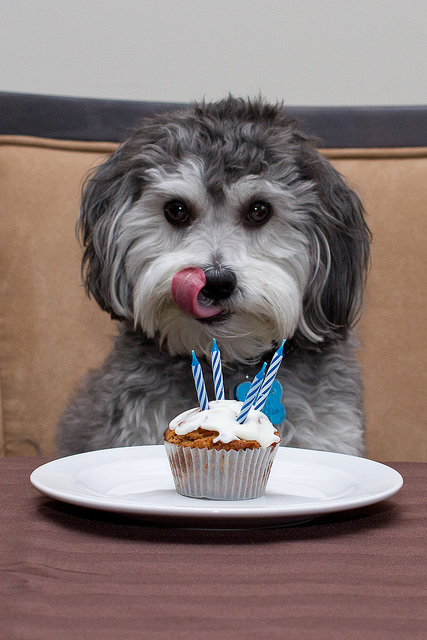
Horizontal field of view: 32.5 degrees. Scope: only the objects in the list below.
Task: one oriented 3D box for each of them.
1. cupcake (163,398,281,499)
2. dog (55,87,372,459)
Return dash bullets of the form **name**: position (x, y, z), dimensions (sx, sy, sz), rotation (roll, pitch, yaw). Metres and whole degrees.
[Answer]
- **cupcake**: position (0.008, 0.188, 1.092), dimensions (0.148, 0.144, 0.141), rotation (-8, 19, -41)
- **dog**: position (-0.012, -0.054, 1.696), dimensions (0.764, 0.824, 0.577), rotation (3, 33, 6)
